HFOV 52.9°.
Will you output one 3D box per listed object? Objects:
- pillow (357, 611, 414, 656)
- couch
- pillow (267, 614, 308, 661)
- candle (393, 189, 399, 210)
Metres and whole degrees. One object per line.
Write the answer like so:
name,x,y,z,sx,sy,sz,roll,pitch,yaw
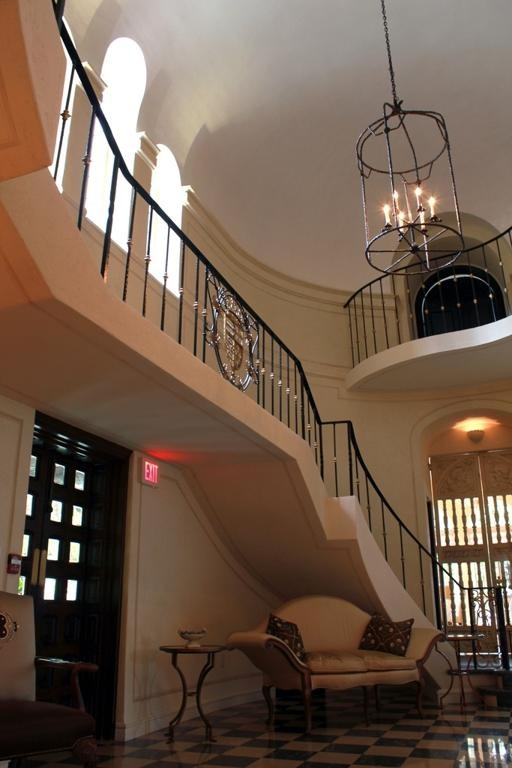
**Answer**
pillow,1.227,2.407,4.947,0.354,0.119,0.377,-14,16,28
couch,0.630,2.489,4.693,1.934,0.934,1.185,6,-21,-29
pillow,0.274,2.200,4.453,0.283,0.349,0.461,0,-19,-13
candle,0.999,-1.322,3.695,0.031,0.162,0.116,-8,-18,14
